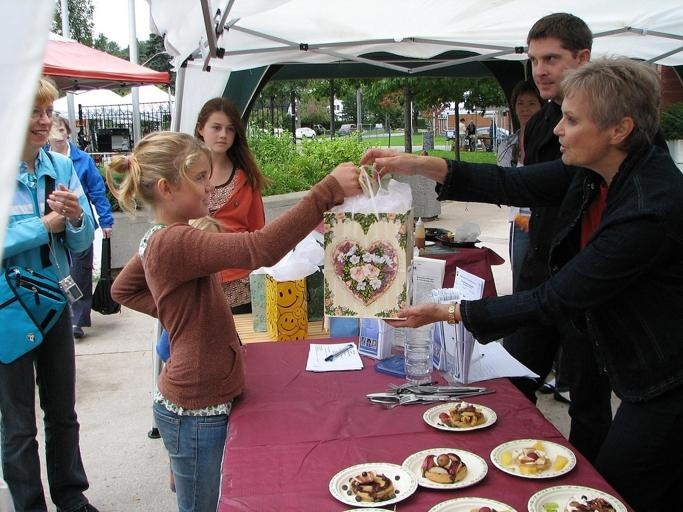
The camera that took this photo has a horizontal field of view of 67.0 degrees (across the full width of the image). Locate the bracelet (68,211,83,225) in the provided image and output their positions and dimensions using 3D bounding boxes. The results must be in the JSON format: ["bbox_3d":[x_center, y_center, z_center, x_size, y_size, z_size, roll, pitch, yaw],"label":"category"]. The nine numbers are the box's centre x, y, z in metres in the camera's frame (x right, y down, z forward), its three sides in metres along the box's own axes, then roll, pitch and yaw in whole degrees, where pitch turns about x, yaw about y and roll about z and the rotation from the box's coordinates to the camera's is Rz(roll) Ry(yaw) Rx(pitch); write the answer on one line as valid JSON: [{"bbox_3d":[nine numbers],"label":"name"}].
[{"bbox_3d":[-1.434,-0.202,2.810,0.063,0.081,0.086,-5,-3,-6],"label":"bracelet"}]

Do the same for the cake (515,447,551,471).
[{"bbox_3d":[0.654,0.703,1.775,0.109,0.033,0.107,2,14,17],"label":"cake"}]

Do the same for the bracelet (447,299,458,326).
[{"bbox_3d":[0.451,0.236,2.170,0.051,0.088,0.081,1,9,6],"label":"bracelet"}]

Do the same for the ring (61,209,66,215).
[{"bbox_3d":[-1.463,-0.232,2.730,0.020,0.040,0.019,8,48,-10],"label":"ring"}]

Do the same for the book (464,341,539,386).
[{"bbox_3d":[0.755,0.536,2.542,0.253,0.035,0.276,-3,18,-2],"label":"book"}]

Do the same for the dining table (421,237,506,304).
[{"bbox_3d":[1.134,0.060,4.824,0.625,0.348,0.634,3,5,35],"label":"dining table"}]
